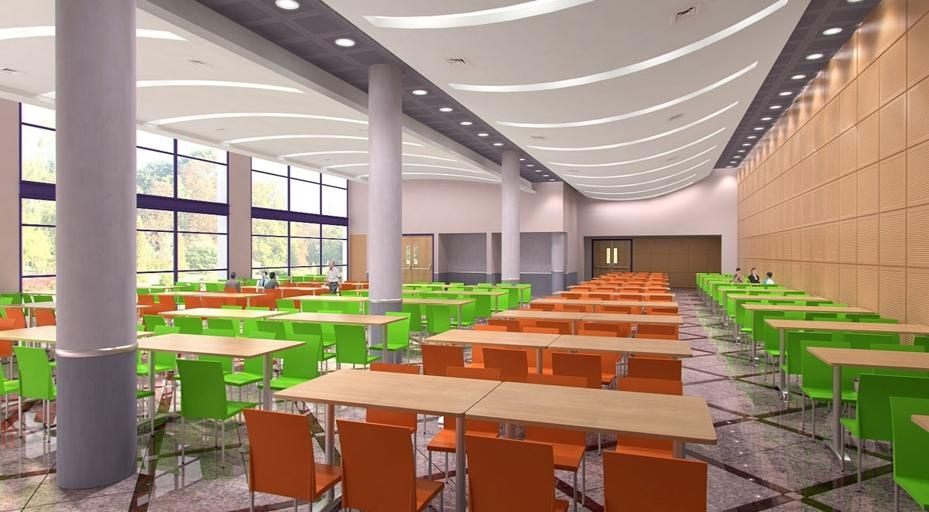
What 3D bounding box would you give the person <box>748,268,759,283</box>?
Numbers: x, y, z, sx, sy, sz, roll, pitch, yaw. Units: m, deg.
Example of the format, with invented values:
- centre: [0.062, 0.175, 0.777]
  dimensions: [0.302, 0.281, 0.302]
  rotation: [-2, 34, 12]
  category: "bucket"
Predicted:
- centre: [11.829, 0.797, 22.231]
  dimensions: [0.546, 0.637, 0.398]
  rotation: [2, -6, -30]
  category: "person"
